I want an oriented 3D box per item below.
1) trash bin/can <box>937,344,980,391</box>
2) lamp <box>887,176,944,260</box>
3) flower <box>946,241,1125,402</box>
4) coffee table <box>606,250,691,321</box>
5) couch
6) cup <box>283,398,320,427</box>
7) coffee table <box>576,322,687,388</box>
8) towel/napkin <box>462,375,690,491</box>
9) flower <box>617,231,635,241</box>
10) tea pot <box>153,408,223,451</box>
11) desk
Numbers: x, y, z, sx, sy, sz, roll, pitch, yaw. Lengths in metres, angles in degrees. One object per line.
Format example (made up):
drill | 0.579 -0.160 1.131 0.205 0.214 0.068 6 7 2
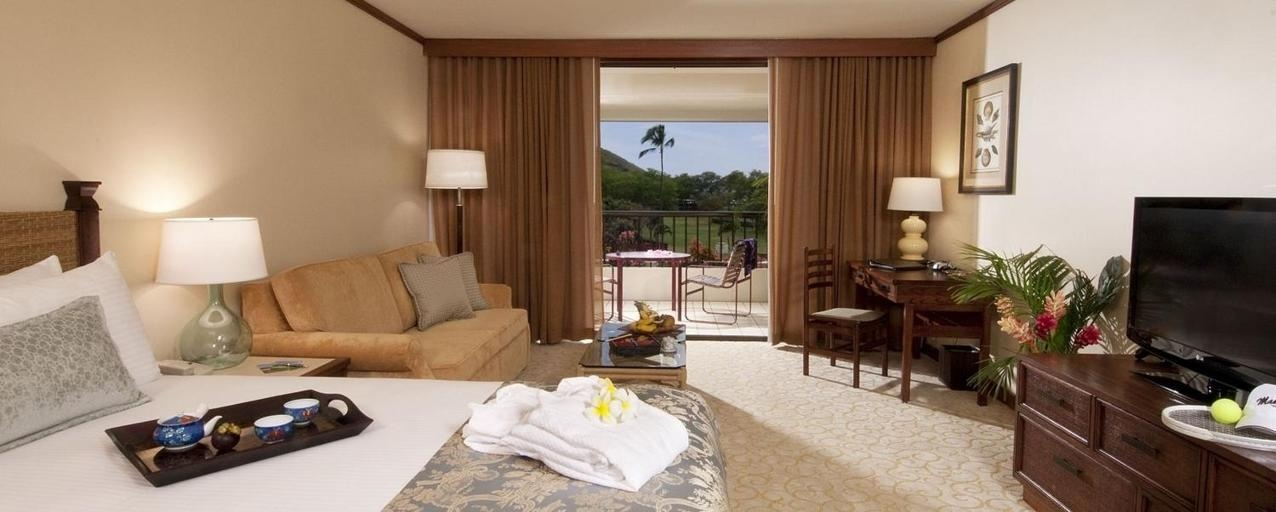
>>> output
trash bin/can | 3.738 1.284 7.868 0.427 0.306 0.388 -1 -1 4
lamp | 3.466 -0.464 8.504 0.685 1.039 0.535 -1 9 1
flower | 3.971 0.650 7.146 1.851 0.926 1.745 12 -7 -36
coffee table | 0.170 0.469 10.666 1.438 0.790 1.260 1 1 10
couch | -2.564 0.044 7.142 1.825 1.274 2.748 -1 6 10
cup | -2.676 1.253 5.429 0.258 0.135 0.227 2 -4 -25
coffee table | 0.058 1.097 7.497 1.141 0.460 1.376 0 18 10
towel/napkin | -0.502 1.353 5.339 1.406 0.416 0.968 5 6 20
flower | -0.181 -0.343 11.760 0.236 0.158 0.193 1 5 41
tea pot | -3.477 1.348 5.327 0.339 0.158 0.441 0 -1 22
desk | 3.580 0.823 8.434 1.257 1.155 2.046 2 6 15
